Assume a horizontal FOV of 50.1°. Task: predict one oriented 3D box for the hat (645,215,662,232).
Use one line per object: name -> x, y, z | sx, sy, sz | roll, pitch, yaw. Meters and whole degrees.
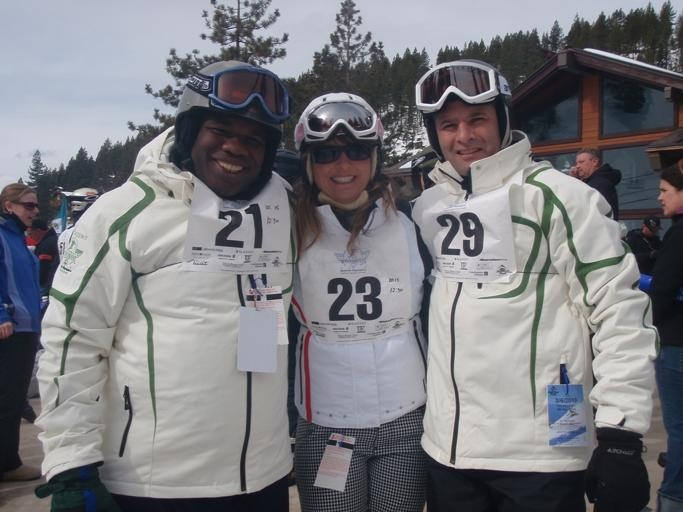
hat -> 4.166, -0.418, 9.932 | 0.211, 0.158, 0.293 | -4, 19, -9
